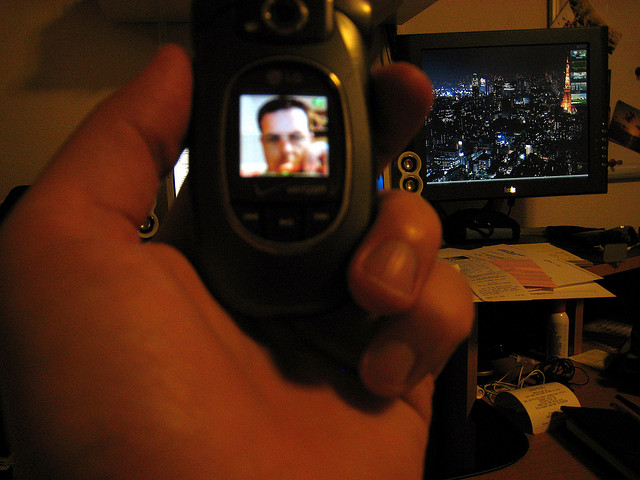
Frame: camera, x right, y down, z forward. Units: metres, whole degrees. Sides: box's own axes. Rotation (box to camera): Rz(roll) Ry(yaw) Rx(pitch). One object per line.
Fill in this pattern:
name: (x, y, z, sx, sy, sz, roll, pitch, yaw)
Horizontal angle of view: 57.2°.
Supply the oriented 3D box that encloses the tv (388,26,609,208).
tv: (0.269, -0.189, 0.876, 0.272, 0.221, 0.030, -2, 1, -7)
